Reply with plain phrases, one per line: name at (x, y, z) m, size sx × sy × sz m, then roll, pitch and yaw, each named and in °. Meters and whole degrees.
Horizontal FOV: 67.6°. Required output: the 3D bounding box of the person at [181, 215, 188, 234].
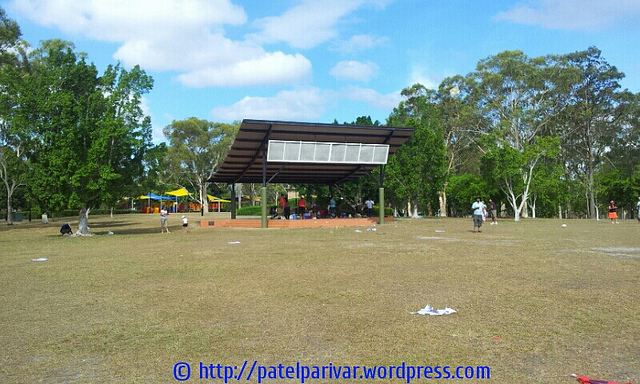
person at (-10.425, 2.555, 36.823) m, size 0.403 × 0.384 × 1.092 m, roll 11°, pitch -31°, yaw -7°

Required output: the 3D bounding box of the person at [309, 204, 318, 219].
person at (-0.615, 1.924, 46.597) m, size 0.417 × 1.603 × 1.486 m, roll -9°, pitch -5°, yaw 29°

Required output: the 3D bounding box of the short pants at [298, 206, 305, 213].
short pants at (-1.661, 1.630, 43.440) m, size 0.642 × 0.819 × 0.480 m, roll 2°, pitch -6°, yaw -4°

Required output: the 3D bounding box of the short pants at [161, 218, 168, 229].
short pants at (-10.666, 2.140, 32.776) m, size 0.280 × 0.731 × 1.081 m, roll -3°, pitch 9°, yaw -10°

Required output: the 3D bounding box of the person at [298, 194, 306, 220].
person at (-1.644, 1.482, 43.513) m, size 0.472 × 1.639 × 1.462 m, roll -2°, pitch 9°, yaw -3°
